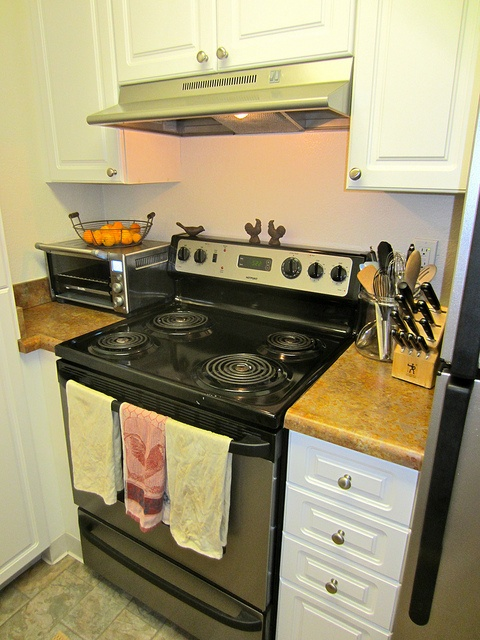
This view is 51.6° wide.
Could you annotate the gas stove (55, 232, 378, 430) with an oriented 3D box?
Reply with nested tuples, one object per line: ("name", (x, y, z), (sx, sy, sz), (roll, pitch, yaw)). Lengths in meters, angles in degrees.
("gas stove", (-0.040, 0.052, 1.440), (0.702, 0.342, 0.628), (15, 31, 29))

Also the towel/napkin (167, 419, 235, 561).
("towel/napkin", (-0.104, 0.412, 1.191), (0.187, 0.351, 0.044), (15, 27, 31))

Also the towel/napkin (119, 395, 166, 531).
("towel/napkin", (-0.249, 0.380, 1.284), (0.078, 0.338, 0.158), (-18, 29, -36))

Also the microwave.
("microwave", (-0.489, -0.180, 1.825), (0.397, 0.229, 0.342), (7, 19, 17))
